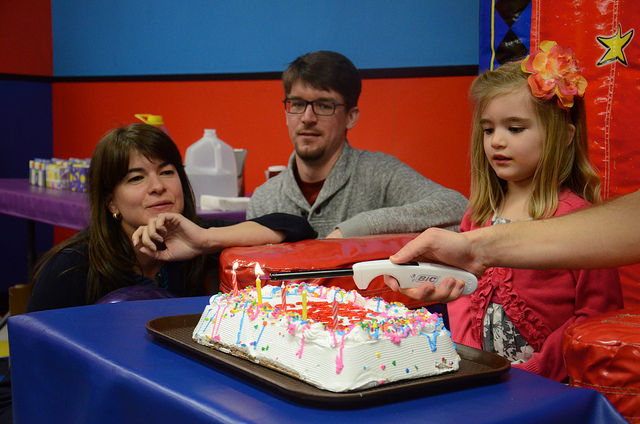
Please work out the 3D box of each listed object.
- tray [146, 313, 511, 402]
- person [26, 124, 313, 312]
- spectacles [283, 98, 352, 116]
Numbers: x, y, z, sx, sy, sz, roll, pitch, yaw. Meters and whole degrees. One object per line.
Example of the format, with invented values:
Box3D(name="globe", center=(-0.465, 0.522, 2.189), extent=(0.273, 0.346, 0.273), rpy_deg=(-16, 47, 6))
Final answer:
Box3D(name="tray", center=(-0.006, 0.298, 1.134), extent=(0.791, 0.067, 0.361), rpy_deg=(3, 9, 20))
Box3D(name="person", center=(-0.561, 0.022, 1.904), extent=(0.908, 0.683, 0.507), rpy_deg=(1, 9, 8))
Box3D(name="spectacles", center=(-0.006, -0.454, 2.234), extent=(0.291, 0.076, 0.098), rpy_deg=(0, 9, -1))
